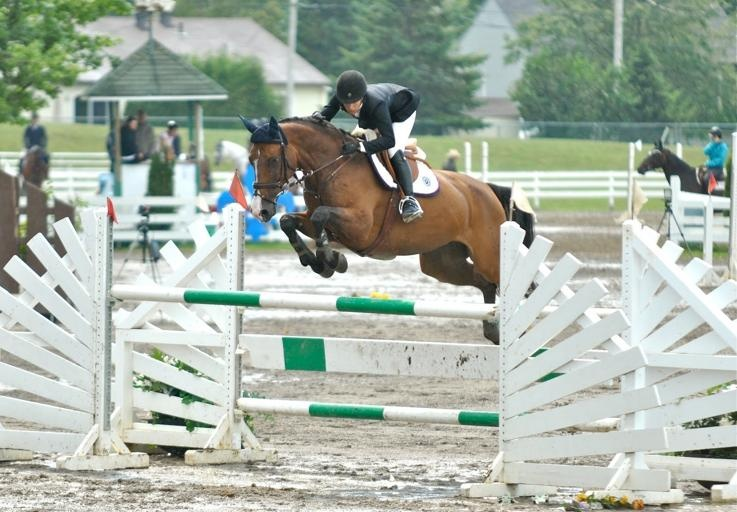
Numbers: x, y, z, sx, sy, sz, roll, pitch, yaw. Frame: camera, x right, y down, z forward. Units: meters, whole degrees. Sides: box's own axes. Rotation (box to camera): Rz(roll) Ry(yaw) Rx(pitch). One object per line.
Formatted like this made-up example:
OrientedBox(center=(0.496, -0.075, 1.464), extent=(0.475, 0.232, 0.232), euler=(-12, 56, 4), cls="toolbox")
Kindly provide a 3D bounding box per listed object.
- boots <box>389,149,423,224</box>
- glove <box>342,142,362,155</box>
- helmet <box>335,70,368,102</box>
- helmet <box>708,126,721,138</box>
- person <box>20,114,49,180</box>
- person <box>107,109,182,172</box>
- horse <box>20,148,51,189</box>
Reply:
OrientedBox(center=(0.367, -0.733, 18.228), extent=(0.231, 0.828, 0.305), euler=(-17, -23, 18), cls="boots")
OrientedBox(center=(-0.175, -1.101, 18.062), extent=(0.195, 0.134, 0.131), euler=(0, 14, -4), cls="glove")
OrientedBox(center=(-0.184, -1.727, 17.865), extent=(0.286, 0.317, 0.240), euler=(-7, -39, 10), cls="helmet")
OrientedBox(center=(3.921, -1.392, 19.752), extent=(0.101, 0.142, 0.127), euler=(-8, 12, -39), cls="helmet")
OrientedBox(center=(-4.608, -1.489, 24.130), extent=(0.273, 1.002, 0.558), euler=(2, -28, -21), cls="person")
OrientedBox(center=(-3.319, -1.840, 26.889), extent=(0.459, 0.875, 1.106), euler=(9, 17, 30), cls="person")
OrientedBox(center=(-4.577, -1.205, 23.919), extent=(0.384, 0.517, 0.626), euler=(-2, 15, -10), cls="horse")
